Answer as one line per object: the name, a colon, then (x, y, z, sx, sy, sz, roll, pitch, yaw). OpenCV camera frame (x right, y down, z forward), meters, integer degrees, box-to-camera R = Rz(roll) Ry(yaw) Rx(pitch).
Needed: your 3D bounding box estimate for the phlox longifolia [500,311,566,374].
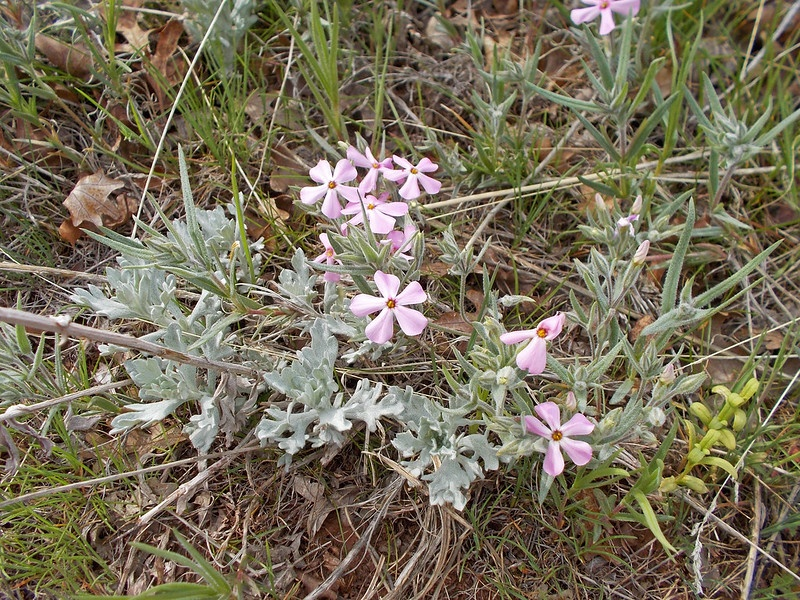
phlox longifolia: (0.596, 0.230, 2.822, 0.274, 0.331, 0.202, -18, 79, 1)

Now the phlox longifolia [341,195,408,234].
phlox longifolia: (-0.117, -0.431, 3.195, 0.226, 0.070, 0.236, 18, 56, 26)

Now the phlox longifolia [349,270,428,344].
phlox longifolia: (-0.037, 0.053, 3.003, 0.352, 0.214, 0.330, 17, 82, 6)
